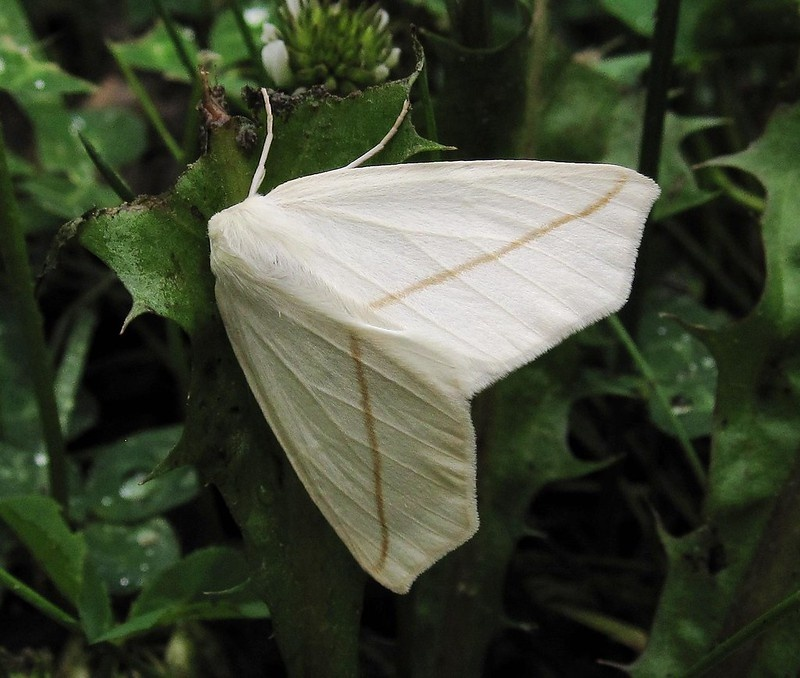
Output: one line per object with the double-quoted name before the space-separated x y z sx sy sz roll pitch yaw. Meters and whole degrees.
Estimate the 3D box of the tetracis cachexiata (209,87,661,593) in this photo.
"tetracis cachexiata" 0.006 -0.009 1.079 0.402 0.345 0.521 24 51 25
